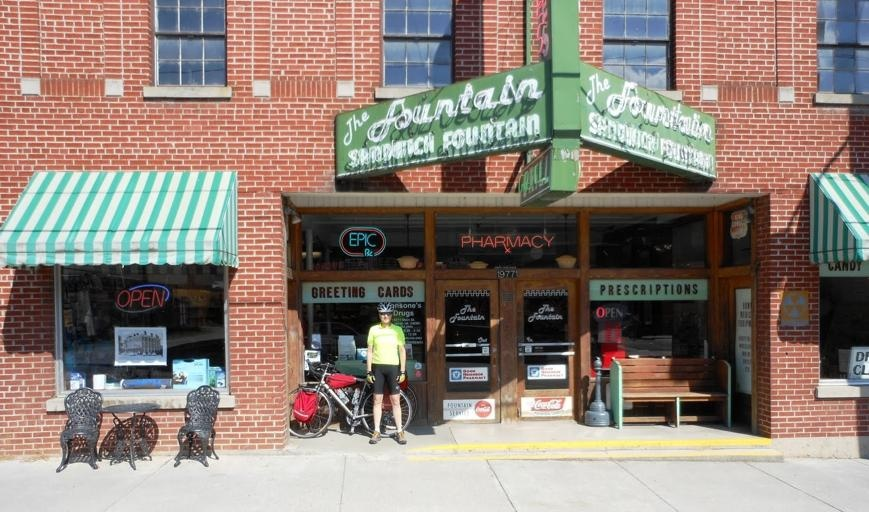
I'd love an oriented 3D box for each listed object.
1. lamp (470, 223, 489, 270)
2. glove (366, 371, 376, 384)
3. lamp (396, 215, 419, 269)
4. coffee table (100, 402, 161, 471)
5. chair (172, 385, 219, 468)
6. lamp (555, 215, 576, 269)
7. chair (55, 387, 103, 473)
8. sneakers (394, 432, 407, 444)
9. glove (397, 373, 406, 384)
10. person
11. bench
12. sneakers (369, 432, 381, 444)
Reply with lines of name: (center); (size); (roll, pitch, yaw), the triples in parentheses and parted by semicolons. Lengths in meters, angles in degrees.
lamp: (1.000, -0.196, 22.318); (0.318, 0.993, 0.137); (-1, -8, 2)
glove: (-1.338, 2.555, 21.255); (0.161, 0.208, 0.097); (-4, -2, -7)
lamp: (-0.532, -0.299, 22.196); (0.558, 1.194, 0.125); (0, -8, -7)
coffee table: (-6.065, 3.733, 20.506); (0.959, 0.936, 0.876); (-12, -18, 27)
chair: (-4.763, 3.422, 20.326); (0.858, 1.589, 0.553); (1, -8, -12)
lamp: (2.832, -0.309, 22.406); (0.660, 1.183, 0.171); (-2, -8, 6)
chair: (-7.064, 3.473, 20.178); (0.853, 1.628, 0.639); (1, -8, -14)
sneakers: (-0.724, 3.817, 21.245); (0.248, 0.275, 0.465); (0, -7, -2)
glove: (-0.684, 2.589, 21.243); (0.186, 0.170, 0.038); (4, 2, -27)
person: (-1.024, 2.500, 21.315); (0.792, 2.912, 0.409); (0, -8, -3)
bench: (5.099, 2.981, 22.019); (2.542, 1.525, 0.669); (0, -8, -2)
sneakers: (-1.268, 3.821, 21.304); (0.241, 0.227, 0.294); (0, -7, -6)
